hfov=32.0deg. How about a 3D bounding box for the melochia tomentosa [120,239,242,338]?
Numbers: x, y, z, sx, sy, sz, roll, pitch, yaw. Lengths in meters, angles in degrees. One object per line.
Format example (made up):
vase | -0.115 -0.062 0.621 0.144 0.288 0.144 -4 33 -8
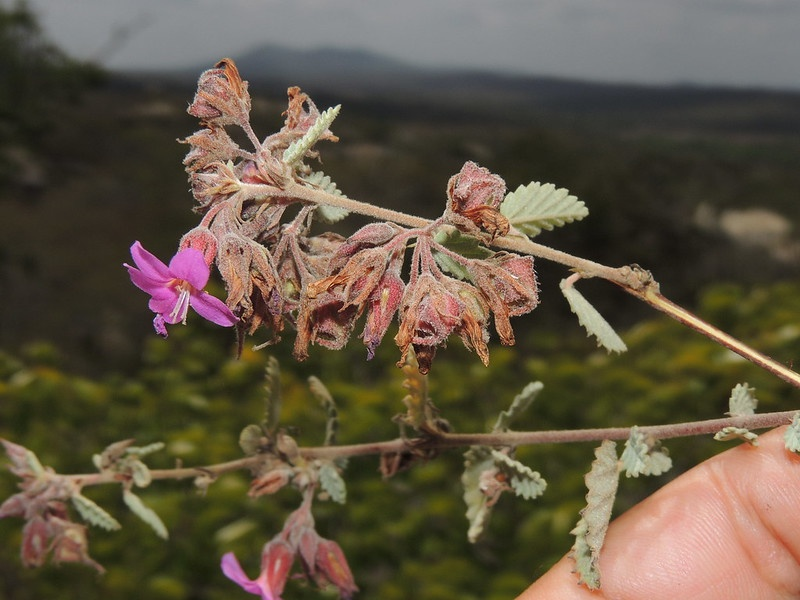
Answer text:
melochia tomentosa | -0.827 -0.049 5.213 0.344 0.341 0.169 32 65 7
